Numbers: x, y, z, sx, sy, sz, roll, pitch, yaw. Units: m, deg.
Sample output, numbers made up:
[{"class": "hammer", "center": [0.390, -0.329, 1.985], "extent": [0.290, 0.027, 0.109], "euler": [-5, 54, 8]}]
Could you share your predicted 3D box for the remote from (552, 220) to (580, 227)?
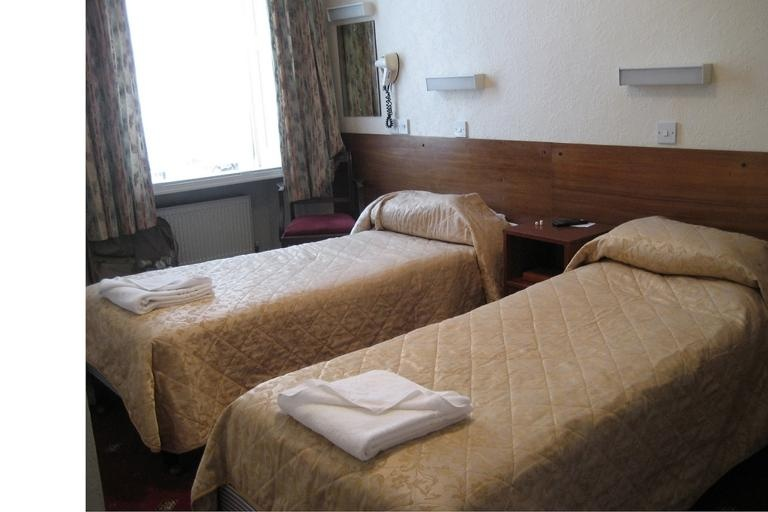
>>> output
[{"class": "remote", "center": [1.209, -0.216, 3.496], "extent": [0.172, 0.033, 0.085], "euler": [-9, 20, -17]}]

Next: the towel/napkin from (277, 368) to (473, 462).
[{"class": "towel/napkin", "center": [-0.010, 0.487, 1.692], "extent": [0.328, 0.098, 0.327], "euler": [-5, 9, -40]}]

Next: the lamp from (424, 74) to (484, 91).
[{"class": "lamp", "center": [0.549, -1.349, 4.129], "extent": [0.102, 0.125, 0.549], "euler": [-19, 25, -36]}]

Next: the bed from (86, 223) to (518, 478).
[{"class": "bed", "center": [-0.455, 0.385, 3.050], "extent": [1.887, 0.492, 1.089], "euler": [-10, 15, -40]}]

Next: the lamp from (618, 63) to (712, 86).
[{"class": "lamp", "center": [1.610, -1.036, 3.026], "extent": [0.098, 0.099, 0.488], "euler": [-18, 24, -34]}]

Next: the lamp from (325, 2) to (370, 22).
[{"class": "lamp", "center": [-0.308, -2.223, 4.813], "extent": [0.087, 0.132, 0.565], "euler": [-22, 27, -40]}]

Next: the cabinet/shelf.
[{"class": "cabinet/shelf", "center": [1.058, 0.006, 3.208], "extent": [0.354, 0.654, 0.356], "euler": [16, 28, 40]}]

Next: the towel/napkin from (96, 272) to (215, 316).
[{"class": "towel/napkin", "center": [-1.185, 0.185, 2.820], "extent": [0.333, 0.099, 0.337], "euler": [7, 10, 44]}]

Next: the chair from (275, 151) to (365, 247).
[{"class": "chair", "center": [-0.586, -0.558, 4.881], "extent": [0.823, 1.205, 0.718], "euler": [-2, 19, -2]}]
